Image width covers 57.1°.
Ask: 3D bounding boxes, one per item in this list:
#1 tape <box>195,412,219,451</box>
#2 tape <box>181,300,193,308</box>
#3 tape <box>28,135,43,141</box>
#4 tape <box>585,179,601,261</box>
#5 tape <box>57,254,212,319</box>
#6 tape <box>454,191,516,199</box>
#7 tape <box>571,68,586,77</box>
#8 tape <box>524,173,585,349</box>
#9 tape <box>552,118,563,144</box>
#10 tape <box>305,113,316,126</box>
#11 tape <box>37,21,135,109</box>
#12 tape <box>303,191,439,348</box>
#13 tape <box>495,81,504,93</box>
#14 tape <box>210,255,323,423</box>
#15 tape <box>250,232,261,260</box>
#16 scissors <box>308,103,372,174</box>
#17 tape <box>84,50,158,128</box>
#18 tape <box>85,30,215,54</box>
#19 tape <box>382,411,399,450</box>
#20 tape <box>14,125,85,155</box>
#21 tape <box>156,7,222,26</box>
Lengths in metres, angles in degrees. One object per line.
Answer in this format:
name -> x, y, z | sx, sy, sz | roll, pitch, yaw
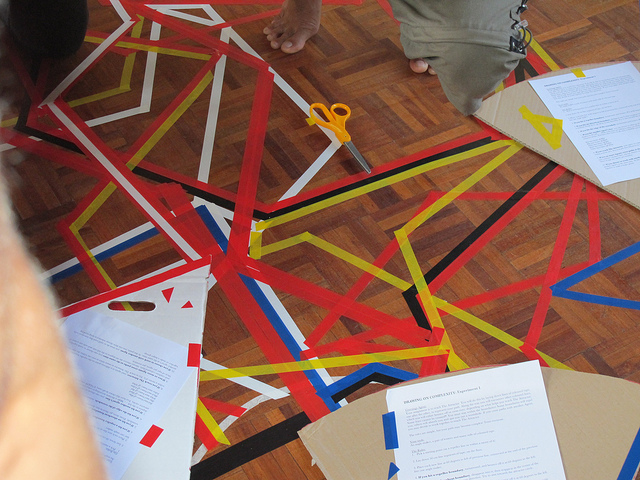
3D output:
tape -> -0.256, 0.424, 1.334 | 0.052, 0.002, 0.145 | -15, 23, -19
tape -> -0.323, 0.155, 1.430 | 0.027, 0.001, 0.022 | 7, 37, -1
tape -> -0.846, -0.310, 1.754 | 0.035, 0.004, 0.012 | 22, 78, 9
tape -> 0.780, -0.044, 1.684 | 0.005, 0.384, 0.062 | -42, 49, -5
tape -> -0.473, 0.120, 1.473 | 0.450, 0.017, 0.036 | -20, 15, 14
tape -> 0.484, -0.134, 1.708 | 0.153, 0.001, 0.019 | 1, 68, -2
tape -> 0.859, -0.566, 1.965 | 0.034, 0.006, 0.042 | -13, 56, -1
tape -> 0.624, 0.072, 1.579 | 0.039, 0.011, 0.518 | 31, 63, -5
tape -> 0.731, -0.349, 1.822 | 0.030, 0.007, 0.093 | 6, 58, 12
tape -> -0.027, -0.381, 1.840 | 0.036, 0.009, 0.033 | 44, 115, 28
tape -> -0.741, -0.582, 1.917 | 0.427, 0.010, 0.039 | -45, 30, -8
tape -> 0.131, 0.091, 1.553 | 0.044, 0.011, 0.589 | 41, 65, 17
tape -> 0.584, -0.506, 1.929 | 0.011, 0.041, 0.036 | 27, 66, -19
tape -> -0.133, 0.256, 1.435 | 0.037, 0.010, 0.527 | -42, 73, -12
tape -> -0.174, 0.016, 1.588 | 0.040, 0.006, 0.108 | -1, 50, -4
scissors -> 0.056, -0.325, 1.851 | 0.140, 0.024, 0.293 | -22, 56, -24
tape -> -0.576, -0.468, 1.829 | 0.259, 0.014, 0.260 | -6, 55, 15
tape -> -0.592, -0.685, 2.014 | 0.492, 0.010, 0.021 | 11, 64, 6
tape -> 0.150, 0.407, 1.252 | 0.034, 0.001, 0.074 | -2, 80, -29
tape -> -0.805, -0.300, 1.749 | 0.242, 0.005, 0.036 | 21, 70, 5
tape -> -0.473, -0.808, 2.100 | 0.297, 0.012, 0.034 | 14, 65, 3
